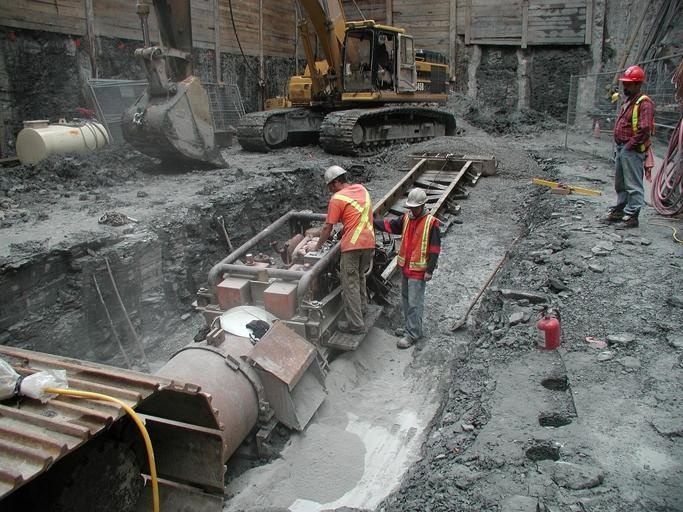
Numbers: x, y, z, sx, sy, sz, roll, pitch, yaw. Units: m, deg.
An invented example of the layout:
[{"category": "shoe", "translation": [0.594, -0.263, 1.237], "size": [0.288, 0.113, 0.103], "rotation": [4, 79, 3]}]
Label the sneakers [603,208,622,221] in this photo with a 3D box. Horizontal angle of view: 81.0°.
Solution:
[{"category": "sneakers", "translation": [4.166, -0.613, 6.112], "size": [0.220, 0.094, 0.158], "rotation": [-29, 40, 24]}]

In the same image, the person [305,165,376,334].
[{"category": "person", "translation": [0.048, -0.101, 5.039], "size": [0.747, 1.910, 0.940], "rotation": [0, 23, 3]}]

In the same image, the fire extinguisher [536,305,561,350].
[{"category": "fire extinguisher", "translation": [2.153, 0.751, 4.130], "size": [0.271, 0.542, 0.294], "rotation": [3, 12, 40]}]

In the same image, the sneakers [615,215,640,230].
[{"category": "sneakers", "translation": [4.223, -0.510, 5.857], "size": [0.404, 0.176, 0.148], "rotation": [-4, 6, -40]}]

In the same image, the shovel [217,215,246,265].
[{"category": "shovel", "translation": [-2.037, -0.416, 7.114], "size": [0.308, 0.607, 0.226], "rotation": [19, 30, 39]}]

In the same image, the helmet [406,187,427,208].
[{"category": "helmet", "translation": [0.954, -0.718, 4.996], "size": [0.225, 0.166, 0.287], "rotation": [12, 26, 30]}]

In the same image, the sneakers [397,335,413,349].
[{"category": "sneakers", "translation": [0.846, 1.134, 5.278], "size": [0.114, 0.104, 0.244], "rotation": [-1, -2, 27]}]

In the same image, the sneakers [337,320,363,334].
[{"category": "sneakers", "translation": [0.116, 0.886, 5.044], "size": [0.300, 0.149, 0.141], "rotation": [11, 28, 8]}]

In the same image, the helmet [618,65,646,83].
[{"category": "helmet", "translation": [4.160, -2.580, 5.665], "size": [0.248, 0.220, 0.687], "rotation": [14, 27, 31]}]

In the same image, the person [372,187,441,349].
[{"category": "person", "translation": [0.952, 0.129, 5.266], "size": [0.597, 2.024, 0.798], "rotation": [-6, 23, -12]}]
